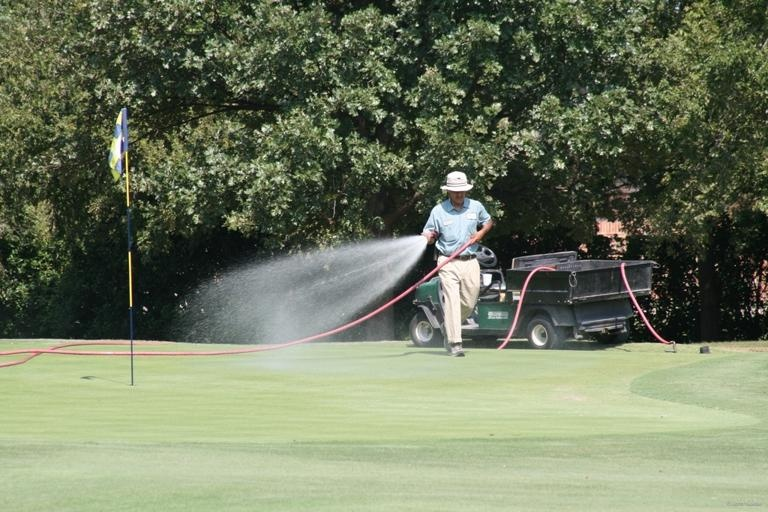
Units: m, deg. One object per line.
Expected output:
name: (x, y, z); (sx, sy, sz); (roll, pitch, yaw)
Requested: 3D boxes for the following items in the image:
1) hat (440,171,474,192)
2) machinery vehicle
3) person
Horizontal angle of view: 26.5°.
hat: (1.413, -1.466, 32.626); (0.566, 0.248, 0.604); (-2, 6, -8)
machinery vehicle: (3.195, 0.930, 34.666); (3.561, 1.517, 2.686); (2, 4, 32)
person: (1.449, 0.152, 32.456); (1.220, 3.661, 0.713); (-2, -6, 1)
